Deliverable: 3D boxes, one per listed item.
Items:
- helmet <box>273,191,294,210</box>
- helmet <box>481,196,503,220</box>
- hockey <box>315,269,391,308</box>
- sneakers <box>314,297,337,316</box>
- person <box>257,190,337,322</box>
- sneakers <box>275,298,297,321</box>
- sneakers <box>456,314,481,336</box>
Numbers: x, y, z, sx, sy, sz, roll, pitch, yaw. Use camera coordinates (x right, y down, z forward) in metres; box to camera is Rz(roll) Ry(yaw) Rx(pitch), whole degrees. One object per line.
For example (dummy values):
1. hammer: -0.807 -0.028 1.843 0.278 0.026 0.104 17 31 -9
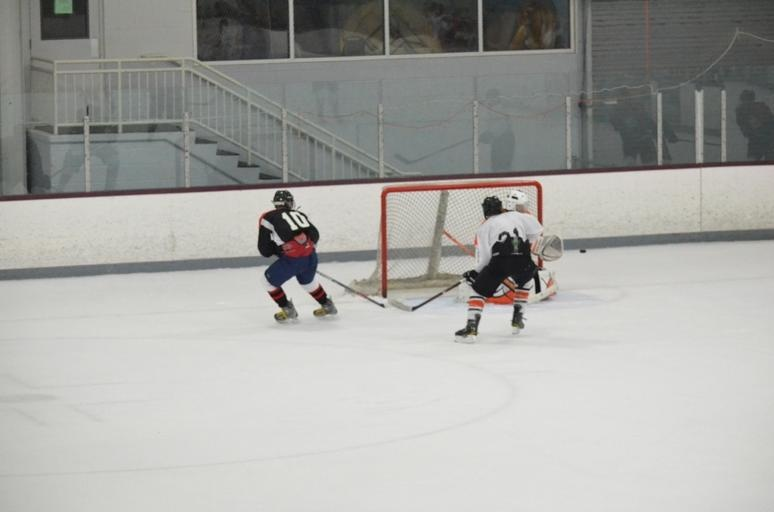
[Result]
1. helmet: -1.086 -0.589 10.081 0.212 0.224 0.178 -5 9 -20
2. helmet: 1.066 -0.490 9.629 0.176 0.234 0.082 -1 -4 2
3. hockey: -0.373 0.393 10.975 1.083 0.118 0.117 24 18 -51
4. sneakers: -0.620 0.531 10.188 0.271 0.236 0.134 0 19 3
5. person: -1.031 0.006 10.692 0.819 1.656 0.922 -18 33 -30
6. sneakers: -1.077 0.585 10.041 0.258 0.269 0.158 5 -9 -41
7. sneakers: 0.795 0.678 9.286 0.235 0.216 0.174 1 5 4
